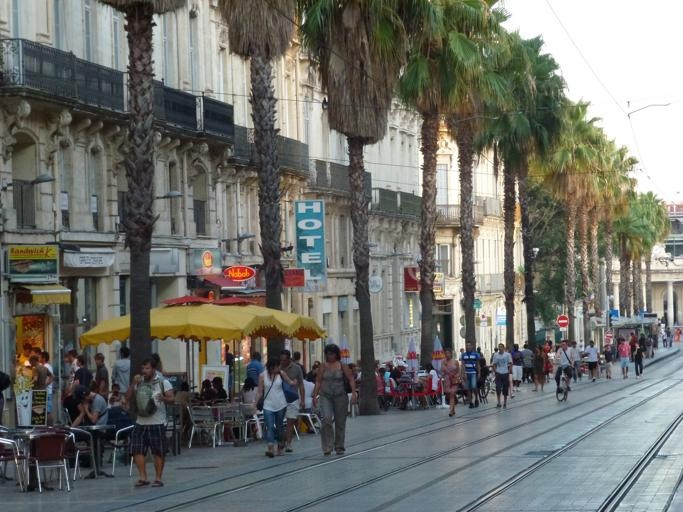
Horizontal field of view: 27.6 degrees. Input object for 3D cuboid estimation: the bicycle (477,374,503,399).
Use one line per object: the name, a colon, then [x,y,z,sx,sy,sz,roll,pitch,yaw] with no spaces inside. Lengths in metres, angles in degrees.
bicycle: [5.007,4.649,47.389,0.798,1.031,1.489,0,4,10]

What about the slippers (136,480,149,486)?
slippers: [-3.985,4.524,27.643,0.279,0.114,0.106,4,4,-6]

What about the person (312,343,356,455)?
person: [-0.177,3.148,30.594,0.846,2.427,0.811,-1,-1,-2]

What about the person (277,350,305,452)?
person: [-1.201,3.249,31.218,0.955,2.192,0.980,3,-6,-19]

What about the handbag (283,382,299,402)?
handbag: [-1.174,3.041,31.067,0.276,0.561,0.404,-2,2,40]

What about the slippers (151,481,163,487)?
slippers: [-3.677,4.517,27.598,0.226,0.124,0.310,-3,-6,-8]

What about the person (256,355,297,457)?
person: [-1.516,3.367,30.912,0.909,2.124,1.061,-1,-2,-3]
